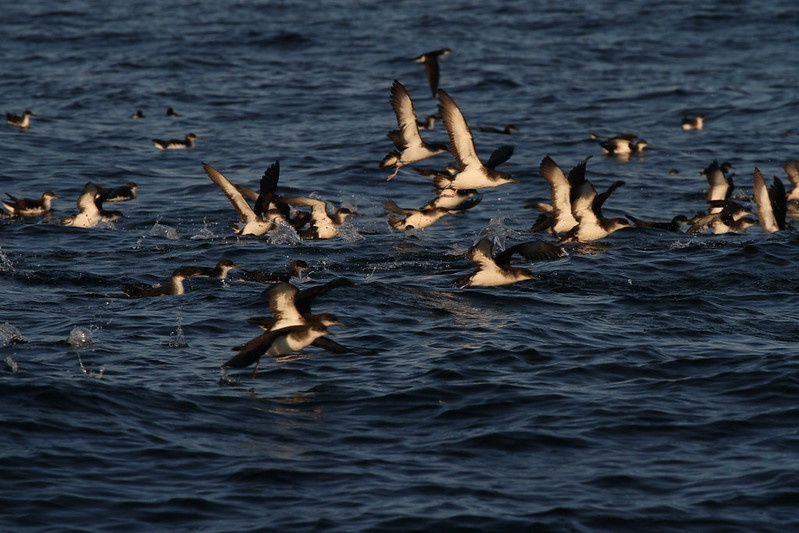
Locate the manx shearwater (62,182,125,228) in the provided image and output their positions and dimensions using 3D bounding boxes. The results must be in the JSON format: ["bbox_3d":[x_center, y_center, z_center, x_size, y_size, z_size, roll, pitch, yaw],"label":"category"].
[{"bbox_3d":[-8.542,-1.743,39.564,0.834,1.238,1.306,2,8,36],"label":"manx shearwater"}]
